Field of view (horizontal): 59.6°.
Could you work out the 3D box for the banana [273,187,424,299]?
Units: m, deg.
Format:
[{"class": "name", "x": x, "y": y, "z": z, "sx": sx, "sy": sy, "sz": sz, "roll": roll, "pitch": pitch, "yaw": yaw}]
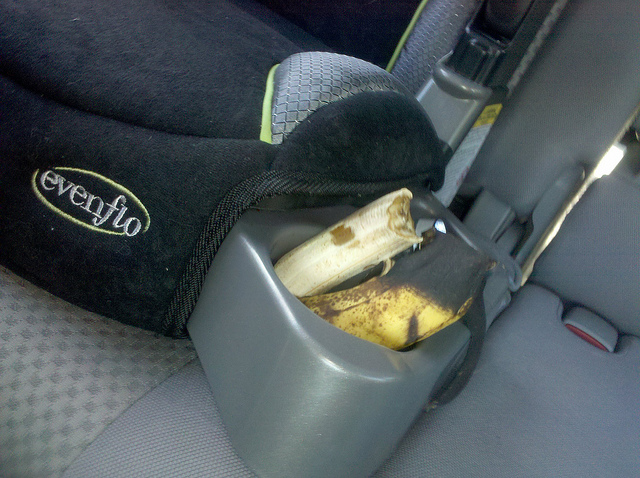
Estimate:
[{"class": "banana", "x": 0.037, "y": 0.020, "z": 0.848, "sx": 0.241, "sy": 0.086, "sz": 0.122, "roll": -31, "pitch": 71, "yaw": 11}]
